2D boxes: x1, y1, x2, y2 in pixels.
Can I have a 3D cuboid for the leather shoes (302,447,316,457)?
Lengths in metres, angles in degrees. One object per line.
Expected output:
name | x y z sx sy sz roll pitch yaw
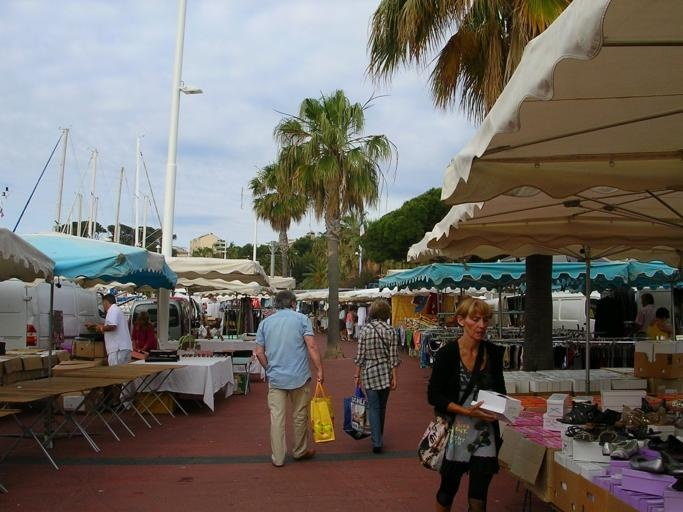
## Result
leather shoes | -0.440 2.711 9.109 0.069 0.102 0.217 4 10 26

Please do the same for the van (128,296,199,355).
van | -5.531 1.909 20.145 1.679 1.740 2.841 -1 1 -2

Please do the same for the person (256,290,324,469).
person | -0.715 1.635 8.902 0.834 2.288 0.614 -2 3 -11

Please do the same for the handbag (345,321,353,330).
handbag | 0.475 4.184 39.400 0.367 0.476 0.420 2 -7 -3

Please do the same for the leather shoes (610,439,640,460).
leather shoes | 2.225 1.504 5.150 0.120 0.114 0.337 -36 -31 27

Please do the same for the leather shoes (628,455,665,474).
leather shoes | 2.277 1.546 4.890 0.236 0.101 0.122 0 4 28

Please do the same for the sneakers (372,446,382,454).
sneakers | 0.507 2.737 9.296 0.106 0.099 0.088 0 -9 -3
